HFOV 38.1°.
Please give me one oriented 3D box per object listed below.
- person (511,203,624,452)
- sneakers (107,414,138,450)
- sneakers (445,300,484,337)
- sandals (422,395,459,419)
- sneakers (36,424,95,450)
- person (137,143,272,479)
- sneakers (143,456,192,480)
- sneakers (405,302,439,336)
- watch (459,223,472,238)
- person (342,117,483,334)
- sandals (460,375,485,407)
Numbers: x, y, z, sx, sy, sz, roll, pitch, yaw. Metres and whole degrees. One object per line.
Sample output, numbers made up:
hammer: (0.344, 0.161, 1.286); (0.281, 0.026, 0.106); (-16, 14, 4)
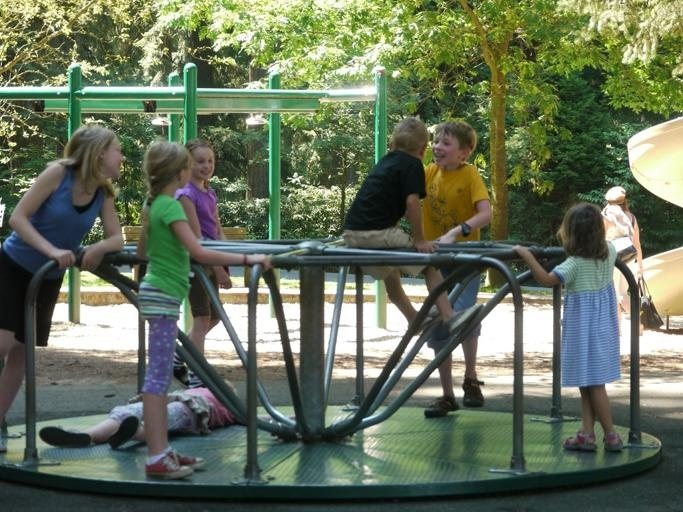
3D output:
person: (1.518, 0.466, 6.474); (0.668, 1.627, 0.226); (0, 1, -18)
sneakers: (-1.412, 1.152, 6.592); (0.126, 0.288, 0.120); (44, 0, -6)
sneakers: (0.785, 0.408, 6.525); (0.207, 0.199, 0.375); (0, 0, -17)
sandals: (0.738, 1.134, 7.408); (0.325, 0.132, 0.112); (0, -5, -42)
sneakers: (-1.791, 1.180, 6.467); (0.278, 0.153, 0.054); (6, 34, -11)
person: (-0.773, 0.339, 6.190); (0.925, 2.132, 1.061); (2, -3, -29)
sneakers: (-1.050, 1.283, 5.989); (0.262, 0.107, 0.134); (1, 1, 11)
sneakers: (0.611, 0.491, 7.281); (0.155, 0.113, 0.374); (-9, -27, -33)
watch: (0.879, -0.186, 7.138); (0.075, 0.087, 0.079); (2, 5, -12)
person: (0.391, -0.242, 6.729); (0.892, 1.457, 0.819); (0, 1, 15)
sandals: (0.978, 1.012, 7.395); (0.144, 0.225, 0.102); (0, 1, 2)
